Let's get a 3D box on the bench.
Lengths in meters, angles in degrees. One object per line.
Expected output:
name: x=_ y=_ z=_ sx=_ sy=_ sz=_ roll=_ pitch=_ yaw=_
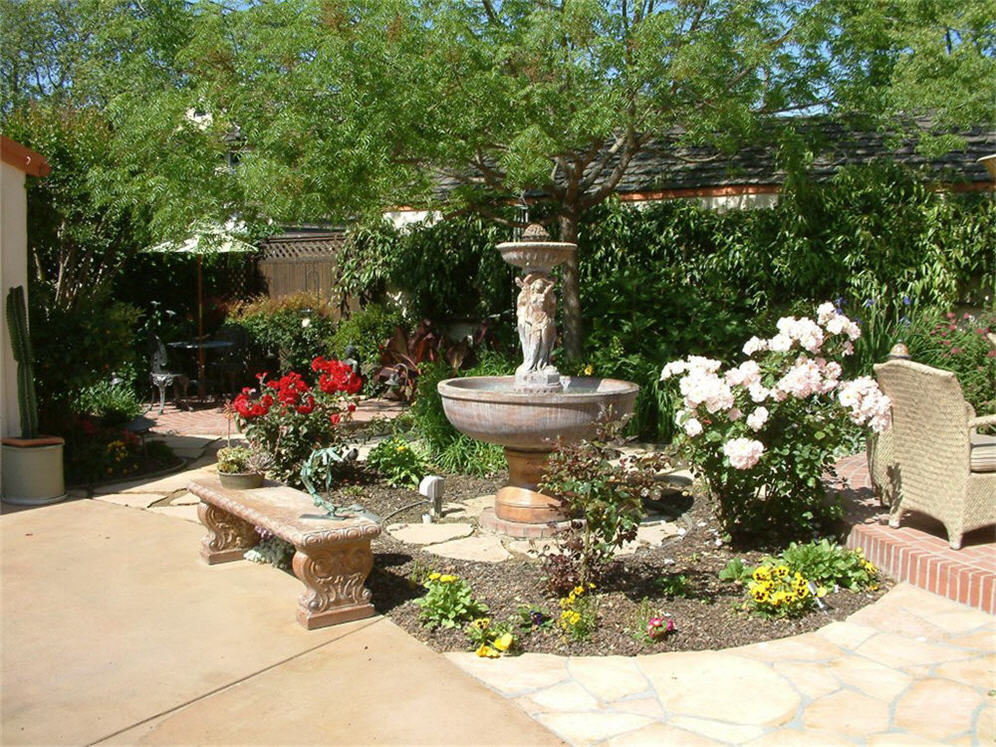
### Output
bench: x=-1.528 y=1.163 z=6.157 sx=0.702 sy=0.651 sz=1.927 roll=-12 pitch=16 yaw=-42

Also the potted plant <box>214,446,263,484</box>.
potted plant: x=-1.963 y=0.699 z=6.549 sx=0.249 sy=0.175 sz=0.331 roll=2 pitch=1 yaw=-2

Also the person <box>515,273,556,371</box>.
person: x=0.317 y=-0.441 z=7.428 sx=0.309 sy=0.839 sz=0.318 roll=0 pitch=12 yaw=5
